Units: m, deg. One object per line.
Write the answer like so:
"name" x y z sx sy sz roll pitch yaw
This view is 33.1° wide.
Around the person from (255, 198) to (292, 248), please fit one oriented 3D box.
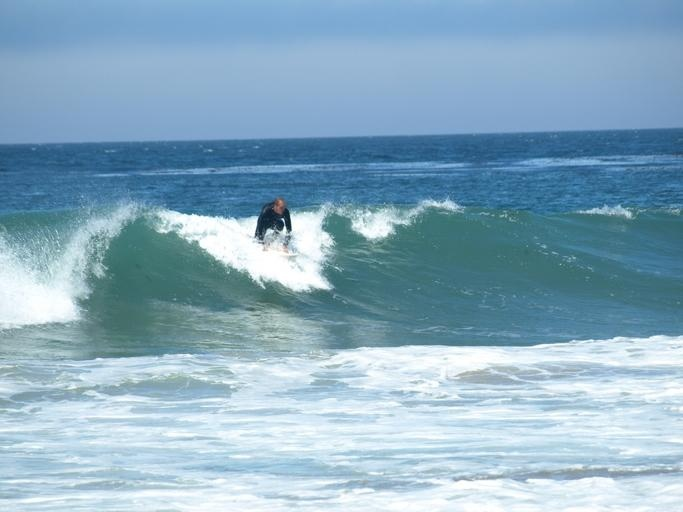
"person" -1.185 -0.564 20.058 0.653 0.826 0.907 -2 1 -4
